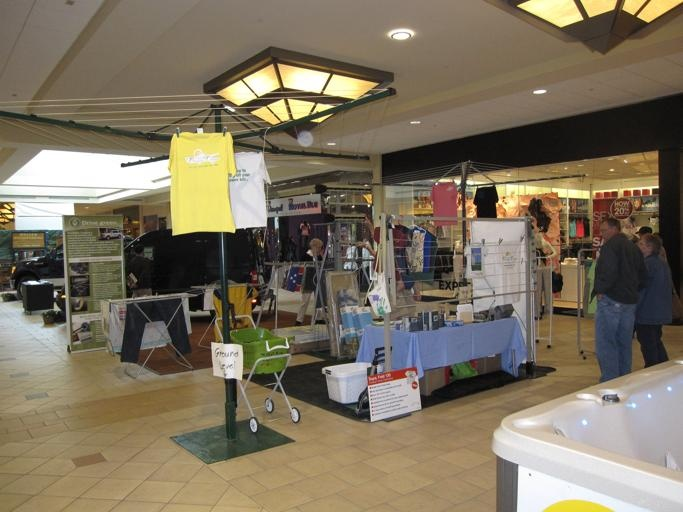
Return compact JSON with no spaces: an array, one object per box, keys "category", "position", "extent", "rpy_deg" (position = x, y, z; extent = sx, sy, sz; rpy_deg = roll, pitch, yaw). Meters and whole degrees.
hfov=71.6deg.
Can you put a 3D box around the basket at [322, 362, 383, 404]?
[{"category":"basket","position":[0.097,1.492,5.603],"extent":[0.559,0.330,0.418],"rpy_deg":[1,-3,-38]}]

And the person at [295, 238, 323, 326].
[{"category":"person","position":[-0.609,0.567,9.033],"extent":[0.546,1.322,1.826],"rpy_deg":[3,7,3]}]

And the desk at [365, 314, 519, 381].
[{"category":"desk","position":[1.286,1.047,5.898],"extent":[1.479,0.567,0.857],"rpy_deg":[-6,8,-30]}]

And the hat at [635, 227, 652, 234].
[{"category":"hat","position":[5.452,-0.465,8.563],"extent":[0.219,0.161,0.295],"rpy_deg":[2,9,13]}]

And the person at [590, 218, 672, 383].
[{"category":"person","position":[3.159,0.508,5.471],"extent":[0.439,1.889,0.339],"rpy_deg":[0,4,29]}]

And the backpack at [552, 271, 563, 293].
[{"category":"backpack","position":[4.673,0.591,10.258],"extent":[0.177,0.559,0.755],"rpy_deg":[0,4,27]}]

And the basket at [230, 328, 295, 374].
[{"category":"basket","position":[-0.923,1.138,5.330],"extent":[0.597,0.522,0.782],"rpy_deg":[-3,4,-15]}]
